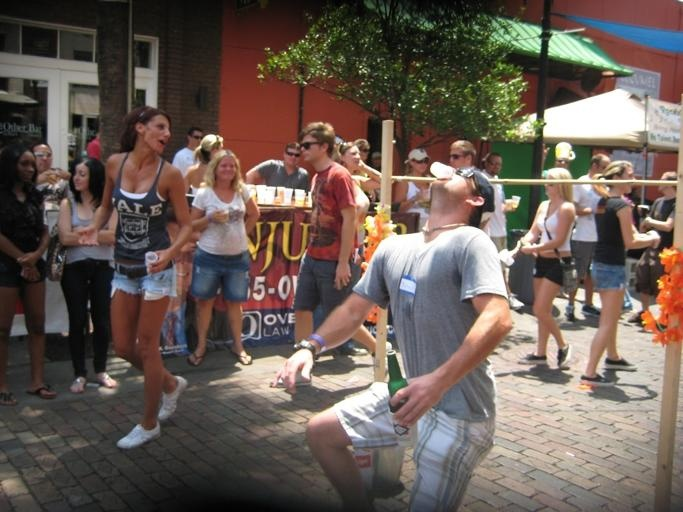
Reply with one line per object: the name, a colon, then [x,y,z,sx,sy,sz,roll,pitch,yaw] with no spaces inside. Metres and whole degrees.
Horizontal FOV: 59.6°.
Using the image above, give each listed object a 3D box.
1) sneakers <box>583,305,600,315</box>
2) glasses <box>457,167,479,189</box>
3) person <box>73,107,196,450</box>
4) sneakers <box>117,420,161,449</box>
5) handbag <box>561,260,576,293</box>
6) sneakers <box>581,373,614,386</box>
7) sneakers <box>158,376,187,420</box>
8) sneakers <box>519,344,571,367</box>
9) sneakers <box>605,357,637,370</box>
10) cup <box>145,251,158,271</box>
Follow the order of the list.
sneakers: [4.313,0.947,10.344,0.302,0.130,0.113,13,30,9]
glasses: [0.753,-0.472,3.543,0.094,0.140,0.067,-6,-2,-27]
person: [-1.702,0.175,5.023,0.795,2.801,0.633,3,10,1]
sneakers: [-1.702,1.493,5.087,0.386,0.155,0.140,-19,31,-41]
handbag: [2.821,0.252,7.430,0.160,0.484,0.385,1,8,34]
sneakers: [2.952,1.421,6.873,0.364,0.146,0.154,-2,4,-6]
sneakers: [-1.576,1.315,5.531,0.193,0.462,0.166,14,4,-41]
sneakers: [2.593,1.252,7.497,0.683,0.274,0.255,0,-2,-7]
sneakers: [3.476,1.361,7.474,0.383,0.152,0.153,0,2,0]
cup: [-1.532,0.051,4.805,0.102,0.103,0.095,16,34,-11]
